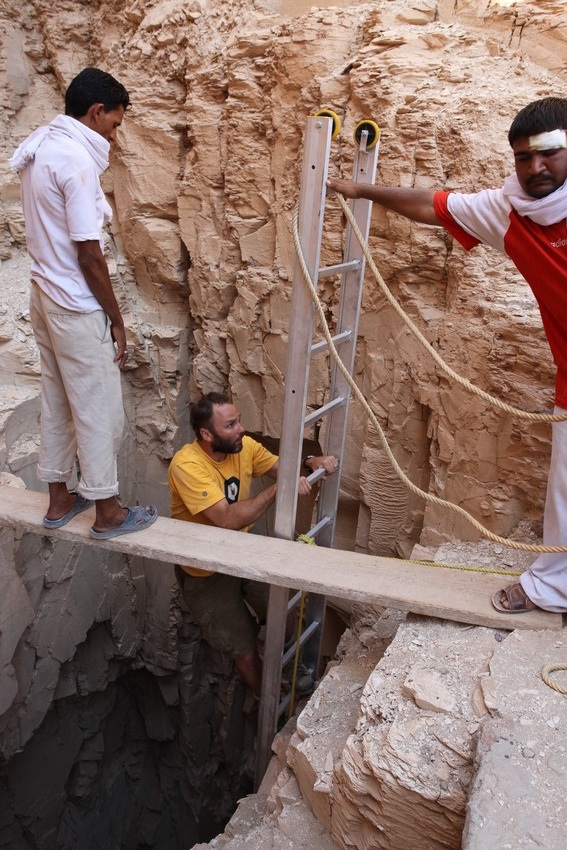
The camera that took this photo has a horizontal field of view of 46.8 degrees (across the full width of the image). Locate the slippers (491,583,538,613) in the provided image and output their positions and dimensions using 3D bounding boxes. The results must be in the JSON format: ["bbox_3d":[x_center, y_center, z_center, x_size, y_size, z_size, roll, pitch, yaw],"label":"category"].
[{"bbox_3d":[0.578,0.441,1.655,0.102,0.040,0.049,3,39,-2],"label":"slippers"}]

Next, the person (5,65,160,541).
[{"bbox_3d":[-0.587,-0.352,1.850,0.302,1.162,0.413,-1,28,-12],"label":"person"}]

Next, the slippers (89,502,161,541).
[{"bbox_3d":[-0.518,0.297,2.089,0.076,0.066,0.183,20,32,36],"label":"slippers"}]

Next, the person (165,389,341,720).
[{"bbox_3d":[-0.102,0.574,2.840,0.758,1.385,0.534,-6,17,0],"label":"person"}]

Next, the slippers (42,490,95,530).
[{"bbox_3d":[-0.694,0.290,2.128,0.057,0.060,0.168,11,38,26],"label":"slippers"}]
